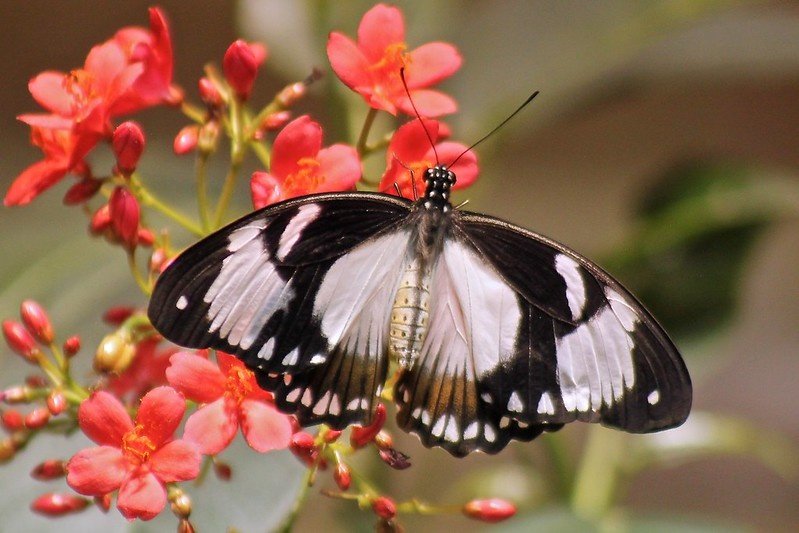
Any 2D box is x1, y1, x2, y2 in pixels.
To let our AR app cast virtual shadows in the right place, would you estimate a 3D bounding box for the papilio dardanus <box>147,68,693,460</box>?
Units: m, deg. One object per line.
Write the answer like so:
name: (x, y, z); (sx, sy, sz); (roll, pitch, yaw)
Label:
papilio dardanus: (0.042, 0.101, 1.582); (0.883, 0.517, 0.157); (9, 2, -3)
